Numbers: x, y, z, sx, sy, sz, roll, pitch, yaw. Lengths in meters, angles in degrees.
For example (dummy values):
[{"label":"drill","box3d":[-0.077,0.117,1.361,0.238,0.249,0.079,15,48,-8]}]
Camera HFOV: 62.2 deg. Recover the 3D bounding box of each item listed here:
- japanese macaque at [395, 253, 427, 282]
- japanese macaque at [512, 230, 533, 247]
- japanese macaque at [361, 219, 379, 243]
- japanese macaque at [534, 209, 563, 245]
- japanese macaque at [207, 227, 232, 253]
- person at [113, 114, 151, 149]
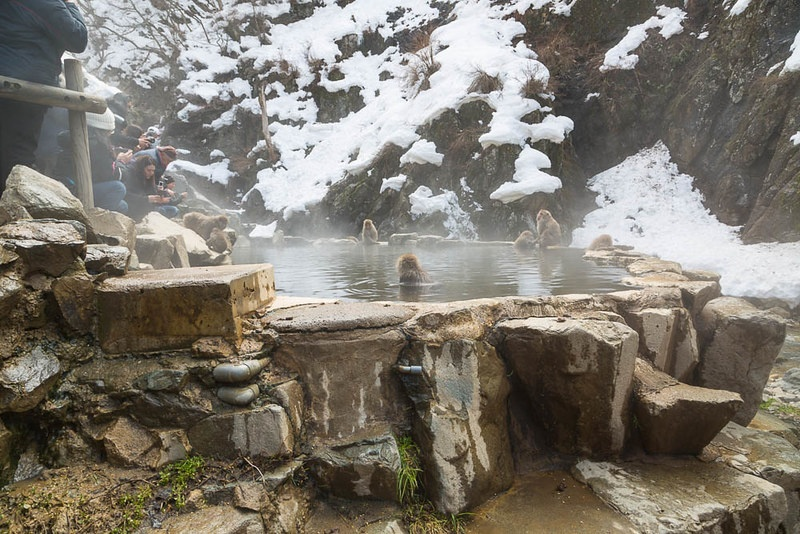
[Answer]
[{"label":"japanese macaque","box3d":[0.144,0.072,13.126,0.599,0.560,0.409,1,-10,-22]},{"label":"japanese macaque","box3d":[3.704,-0.803,19.522,0.430,0.244,0.576,14,27,30]},{"label":"japanese macaque","box3d":[-1.032,-1.107,22.538,0.336,1.229,0.497,-8,44,-6]},{"label":"japanese macaque","box3d":[4.485,-1.178,20.126,0.702,1.070,0.697,-1,6,-5]},{"label":"japanese macaque","box3d":[-4.726,-0.674,17.324,0.593,0.642,1.091,-2,6,-16]},{"label":"person","box3d":[-6.359,-3.192,15.789,0.845,0.437,1.201,8,-11,8]}]
